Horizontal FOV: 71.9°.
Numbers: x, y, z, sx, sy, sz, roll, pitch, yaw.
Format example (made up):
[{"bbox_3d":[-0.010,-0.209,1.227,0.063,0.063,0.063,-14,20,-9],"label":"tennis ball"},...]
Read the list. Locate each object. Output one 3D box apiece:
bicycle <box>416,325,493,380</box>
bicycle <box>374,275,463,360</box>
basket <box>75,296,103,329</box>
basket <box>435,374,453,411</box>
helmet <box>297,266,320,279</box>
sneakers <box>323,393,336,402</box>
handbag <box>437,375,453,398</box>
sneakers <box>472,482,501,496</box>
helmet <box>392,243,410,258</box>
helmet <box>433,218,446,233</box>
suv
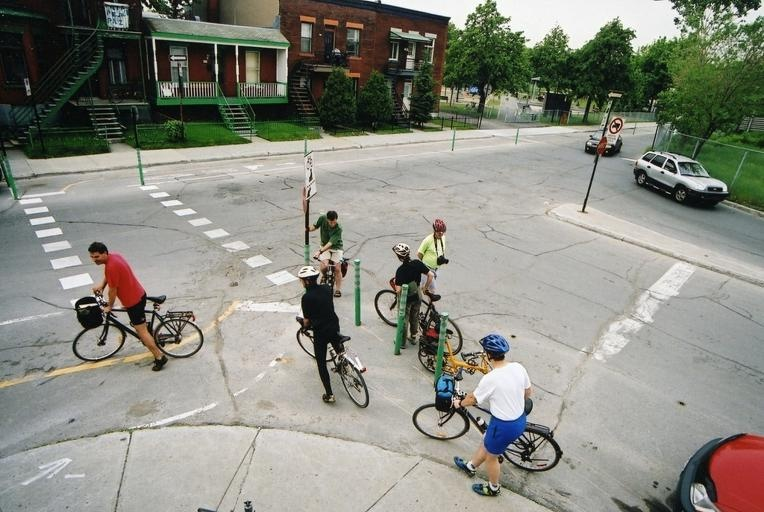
[{"bbox_3d":[1.711,2.335,12.608,1.588,0.973,0.969,15,25,27],"label":"bicycle"},{"bbox_3d":[1.148,1.542,14.134,2.666,1.529,1.320,29,38,29],"label":"bicycle"},{"bbox_3d":[-6.786,1.304,12.239,0.464,0.821,0.586,-14,28,-36],"label":"basket"},{"bbox_3d":[1.280,2.805,10.799,0.371,0.693,0.485,8,25,10],"label":"basket"},{"bbox_3d":[-1.616,0.336,11.544,0.367,0.192,0.413,0,25,-6],"label":"helmet"},{"bbox_3d":[-1.184,3.195,11.854,0.286,0.131,0.142,20,34,30],"label":"sneakers"},{"bbox_3d":[1.268,2.656,10.685,0.319,0.243,0.443,6,55,1],"label":"handbag"},{"bbox_3d":[2.048,4.647,10.488,0.581,0.245,0.206,5,36,9],"label":"sneakers"},{"bbox_3d":[0.467,-0.134,12.921,0.364,0.240,0.273,15,27,24],"label":"helmet"},{"bbox_3d":[1.443,-0.786,13.412,0.290,0.490,0.573,5,25,4],"label":"helmet"},{"bbox_3d":[14.461,-3.855,25.656,2.120,1.935,4.574,-10,24,-17],"label":"suv"}]
